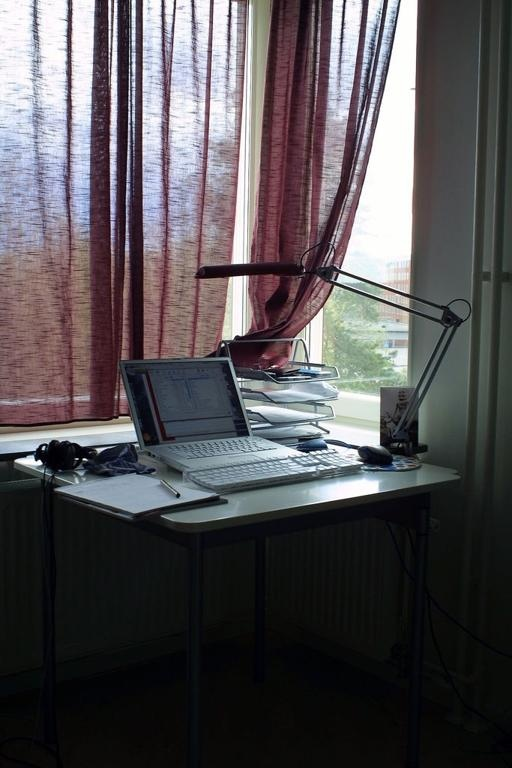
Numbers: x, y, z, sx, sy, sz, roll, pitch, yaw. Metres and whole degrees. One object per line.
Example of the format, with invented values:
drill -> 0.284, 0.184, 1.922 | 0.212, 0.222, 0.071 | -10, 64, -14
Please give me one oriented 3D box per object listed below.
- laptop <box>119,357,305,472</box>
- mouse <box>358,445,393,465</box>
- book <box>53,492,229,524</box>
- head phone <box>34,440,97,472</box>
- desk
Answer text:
laptop -> -0.135, 0.057, 1.437 | 0.266, 0.285, 0.190 | -5, -18, -36
mouse -> 0.260, 0.143, 1.386 | 0.036, 0.020, 0.061 | 1, 11, -21
book -> -0.188, 0.192, 1.017 | 0.280, 0.029, 0.147 | 1, -1, 1
head phone -> -0.377, 0.142, 1.309 | 0.086, 0.040, 0.065 | 9, -2, -44
desk -> -0.048, 0.228, 1.323 | 0.638, 0.606, 0.797 | -3, 6, -33
